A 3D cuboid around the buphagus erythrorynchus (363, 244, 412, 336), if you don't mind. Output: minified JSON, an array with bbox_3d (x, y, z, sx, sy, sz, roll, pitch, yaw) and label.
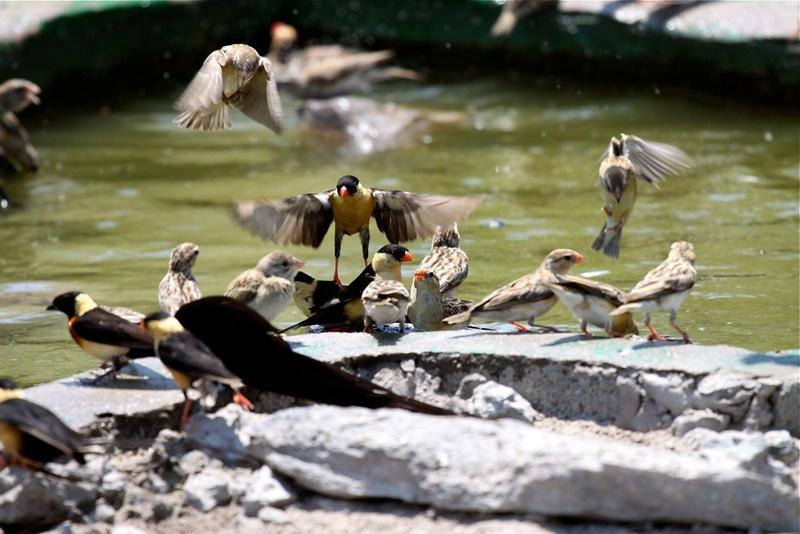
[{"bbox_3d":[-0.127,0.158,9.341,0.459,0.829,1.065,0,-5,7],"label":"buphagus erythrorynchus"}]

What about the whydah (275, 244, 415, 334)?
[{"bbox_3d":[-0.456,0.179,9.800,1.612,0.903,0.540,-10,5,7],"label":"whydah"}]

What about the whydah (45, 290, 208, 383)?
[{"bbox_3d":[-2.348,0.505,8.607,1.323,0.714,0.412,0,4,20],"label":"whydah"}]
